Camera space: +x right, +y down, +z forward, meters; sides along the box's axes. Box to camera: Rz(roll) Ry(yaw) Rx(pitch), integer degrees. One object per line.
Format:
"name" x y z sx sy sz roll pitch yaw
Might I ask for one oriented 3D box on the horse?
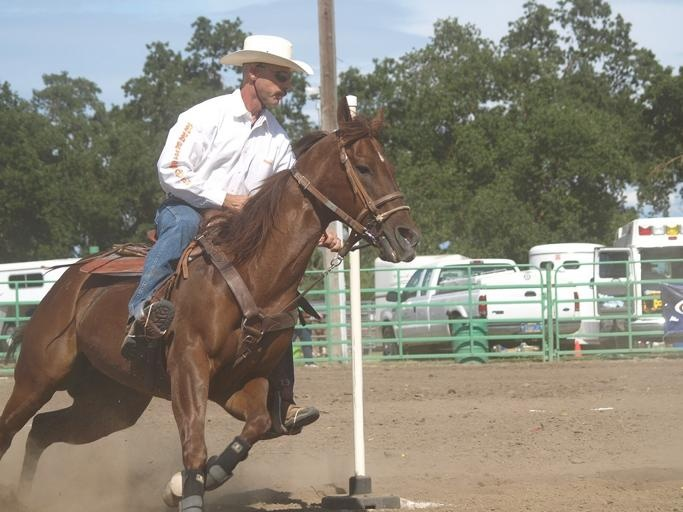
"horse" -2.004 0.703 17.383 5.732 5.890 1.518 -1 0 23

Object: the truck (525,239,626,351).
"truck" 5.889 0.961 28.540 2.248 1.767 2.848 -1 1 2

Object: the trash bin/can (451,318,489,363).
"trash bin/can" 2.940 1.939 27.031 0.975 1.154 0.989 -1 -6 1

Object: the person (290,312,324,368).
"person" -0.757 1.809 25.073 0.514 0.567 1.671 -14 -33 -2

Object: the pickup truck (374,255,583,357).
"pickup truck" 2.866 1.148 27.947 2.312 1.741 3.975 0 -2 -32

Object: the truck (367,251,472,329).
"truck" 1.850 0.904 30.404 2.306 1.410 1.557 -3 1 14
